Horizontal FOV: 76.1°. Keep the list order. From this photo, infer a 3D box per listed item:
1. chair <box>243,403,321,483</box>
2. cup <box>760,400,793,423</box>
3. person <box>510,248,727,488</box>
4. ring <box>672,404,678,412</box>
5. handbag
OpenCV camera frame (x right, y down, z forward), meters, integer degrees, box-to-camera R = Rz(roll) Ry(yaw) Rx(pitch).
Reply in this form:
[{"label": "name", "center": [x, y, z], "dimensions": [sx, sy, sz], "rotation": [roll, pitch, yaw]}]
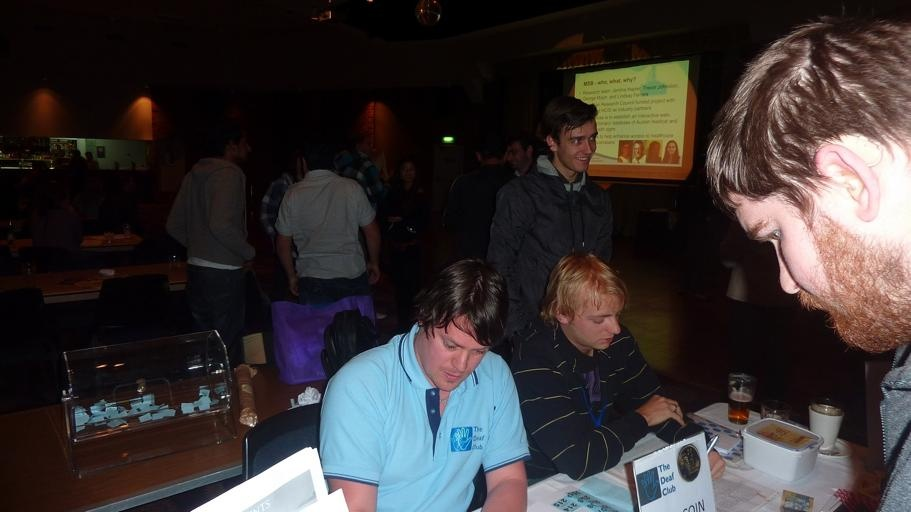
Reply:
[{"label": "chair", "center": [-0.853, 0.868, 2.885], "dimensions": [0.332, 0.423, 0.368], "rotation": [-1, 0, -21]}, {"label": "cup", "center": [1.762, 0.836, 3.202], "dimensions": [0.140, 0.127, 0.127], "rotation": [0, -1, -41]}, {"label": "person", "center": [0.726, 0.533, 3.443], "dimensions": [0.964, 1.228, 1.329], "rotation": [-31, 27, -33]}, {"label": "ring", "center": [1.219, 0.839, 3.231], "dimensions": [0.036, 0.026, 0.047], "rotation": [0, 37, 5]}, {"label": "handbag", "center": [-0.772, 0.500, 3.405], "dimensions": [0.499, 0.378, 0.185], "rotation": [-7, 1, -18]}]
